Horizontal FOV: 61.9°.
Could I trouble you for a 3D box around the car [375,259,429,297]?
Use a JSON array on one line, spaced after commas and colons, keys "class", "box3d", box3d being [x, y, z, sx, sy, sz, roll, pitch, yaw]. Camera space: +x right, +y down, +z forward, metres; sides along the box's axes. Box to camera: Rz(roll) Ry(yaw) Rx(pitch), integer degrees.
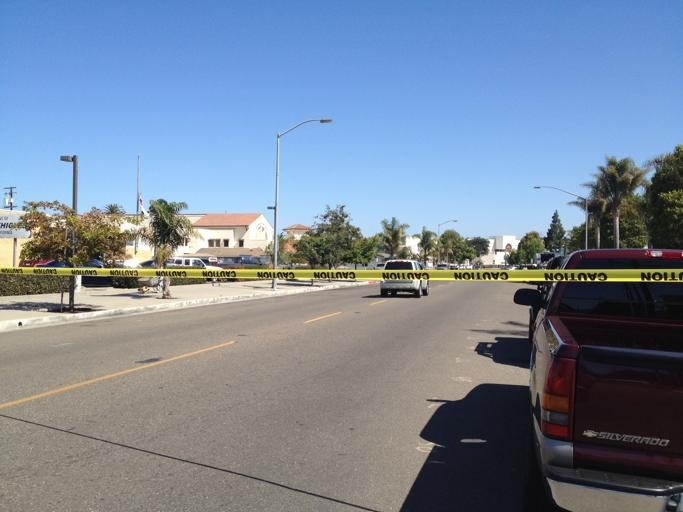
[{"class": "car", "box3d": [2.733, 1.203, 27.247, 1.624, 1.622, 3.476, 0, 2, 19]}]
